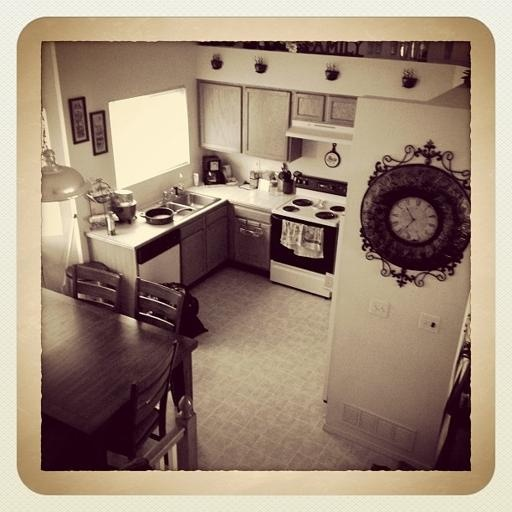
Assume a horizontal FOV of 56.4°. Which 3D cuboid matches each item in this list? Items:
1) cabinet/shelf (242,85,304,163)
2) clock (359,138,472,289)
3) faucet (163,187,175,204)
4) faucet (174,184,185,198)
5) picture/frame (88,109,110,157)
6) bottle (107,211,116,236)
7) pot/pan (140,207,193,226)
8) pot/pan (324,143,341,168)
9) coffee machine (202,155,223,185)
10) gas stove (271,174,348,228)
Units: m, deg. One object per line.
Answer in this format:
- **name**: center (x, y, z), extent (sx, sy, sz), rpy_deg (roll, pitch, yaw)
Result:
- **cabinet/shelf**: center (0.150, -1.382, 4.898), extent (0.471, 0.723, 0.408), rpy_deg (9, 27, 12)
- **clock**: center (0.791, -0.165, 2.394), extent (0.530, 0.766, 0.034), rpy_deg (13, 34, 19)
- **faucet**: center (-0.882, -0.624, 4.860), extent (0.099, 0.178, 0.187), rpy_deg (0, 30, -6)
- **faucet**: center (-0.801, -0.662, 4.941), extent (0.132, 0.114, 0.052), rpy_deg (-4, 5, -25)
- **picture/frame**: center (-1.316, -1.024, 3.974), extent (0.105, 0.364, 0.249), rpy_deg (1, 5, 21)
- **bottle**: center (-1.215, -0.268, 3.975), extent (0.071, 0.194, 0.222), rpy_deg (-3, 5, -18)
- **pot/pan**: center (-0.871, -0.373, 4.428), extent (0.325, 0.054, 0.185), rpy_deg (-12, 29, -29)
- **pot/pan**: center (0.777, -1.009, 4.839), extent (0.188, 0.238, 0.081), rpy_deg (4, 7, 43)
- **coffee machine**: center (-0.479, -0.960, 5.340), extent (0.252, 0.322, 0.172), rpy_deg (-2, 5, -7)
- **gas stove**: center (0.575, -0.514, 4.796), extent (0.640, 0.296, 0.613), rpy_deg (17, 50, 21)
